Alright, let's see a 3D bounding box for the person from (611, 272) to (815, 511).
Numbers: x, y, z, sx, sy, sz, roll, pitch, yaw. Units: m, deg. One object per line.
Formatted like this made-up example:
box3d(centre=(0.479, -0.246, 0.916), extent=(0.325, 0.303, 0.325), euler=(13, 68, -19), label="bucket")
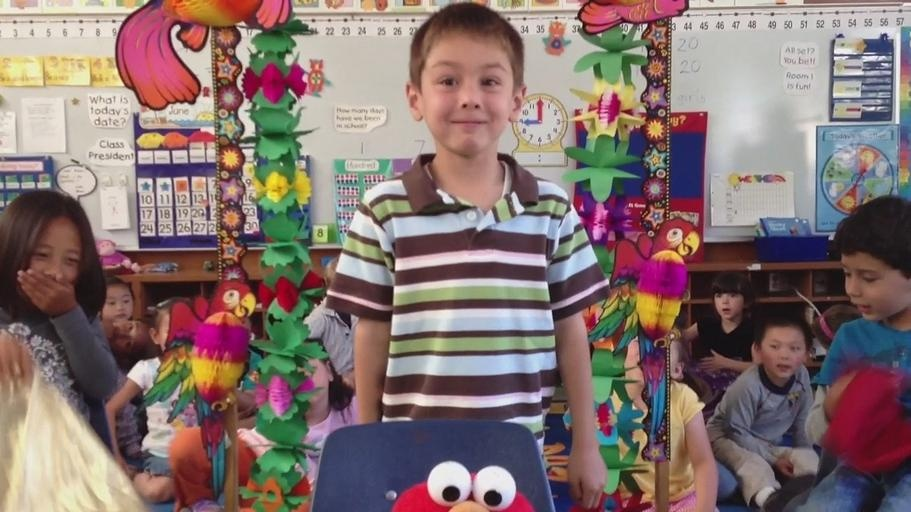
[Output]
box3d(centre=(1.495, 0.971, 6.876), extent=(0.832, 1.406, 1.406), euler=(0, -40, 7), label="person")
